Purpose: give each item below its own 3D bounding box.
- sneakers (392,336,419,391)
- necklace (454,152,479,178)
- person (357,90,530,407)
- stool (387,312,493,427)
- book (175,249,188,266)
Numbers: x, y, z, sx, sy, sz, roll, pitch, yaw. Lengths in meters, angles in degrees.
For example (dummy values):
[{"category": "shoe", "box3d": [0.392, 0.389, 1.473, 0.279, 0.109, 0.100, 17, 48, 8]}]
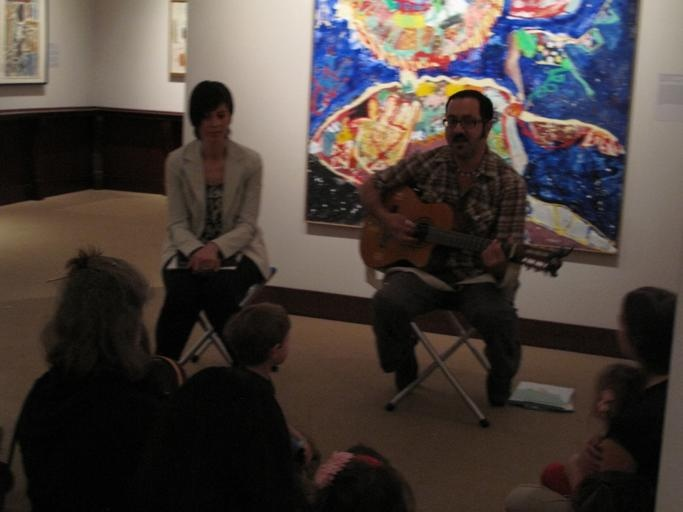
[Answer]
[{"category": "sneakers", "box3d": [0.314, 0.536, 2.574, 0.085, 0.274, 0.108, 16, 2, -2]}, {"category": "necklace", "box3d": [0.575, -0.411, 2.432, 0.086, 0.117, 0.042, 1, -1, 16]}, {"category": "person", "box3d": [0.468, -0.023, 2.553, 0.862, 1.418, 0.641, 7, 20, 18]}, {"category": "stool", "box3d": [0.413, 0.493, 2.443, 0.362, 0.347, 0.250, 15, 11, 18]}, {"category": "book", "box3d": [-0.743, 0.012, 2.488, 0.070, 0.065, 0.016, 1, 5, 15]}]
